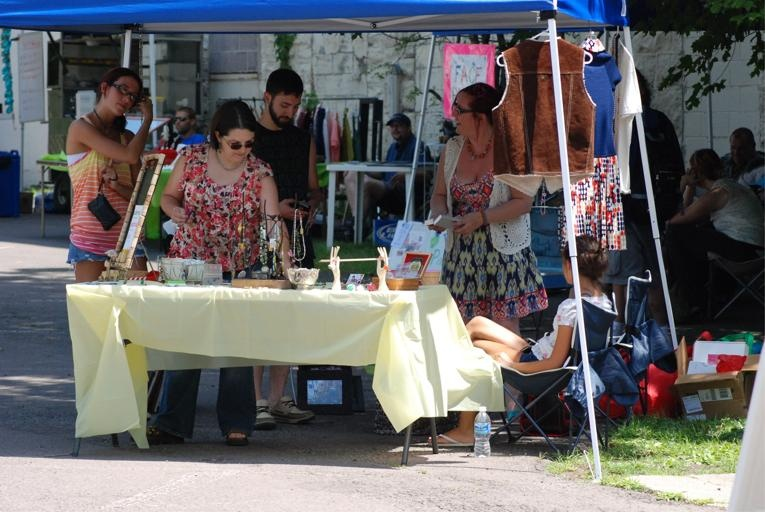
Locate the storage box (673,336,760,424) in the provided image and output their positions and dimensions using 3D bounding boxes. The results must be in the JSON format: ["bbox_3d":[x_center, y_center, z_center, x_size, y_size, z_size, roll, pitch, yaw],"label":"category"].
[{"bbox_3d":[2.719,0.948,8.976,0.579,0.458,0.588,1,9,20],"label":"storage box"}]

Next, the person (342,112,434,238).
[{"bbox_3d":[0.052,-1.236,17.275,1.246,2.190,1.036,4,2,-23],"label":"person"}]

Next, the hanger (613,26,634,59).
[{"bbox_3d":[2.053,-1.836,9.423,0.126,0.333,0.687,2,3,12],"label":"hanger"}]

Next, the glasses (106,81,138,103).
[{"bbox_3d":[-2.130,-1.365,9.087,0.118,0.147,0.297,4,4,40],"label":"glasses"}]

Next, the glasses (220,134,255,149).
[{"bbox_3d":[-1.155,-0.901,8.531,0.270,0.160,0.147,1,3,-2],"label":"glasses"}]

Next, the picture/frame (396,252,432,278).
[{"bbox_3d":[0.244,0.063,8.223,0.261,0.186,0.224,1,3,-11],"label":"picture/frame"}]

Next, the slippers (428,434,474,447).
[{"bbox_3d":[0.537,1.453,8.636,0.323,0.099,0.137,2,-3,1],"label":"slippers"}]

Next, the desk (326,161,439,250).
[{"bbox_3d":[-0.267,-0.797,16.270,1.229,1.326,1.307,1,3,14],"label":"desk"}]

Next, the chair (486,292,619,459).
[{"bbox_3d":[1.337,0.837,8.780,1.094,1.210,0.966,2,-4,13],"label":"chair"}]

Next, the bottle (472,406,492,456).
[{"bbox_3d":[0.760,1.313,8.400,0.138,0.394,0.328,1,3,6],"label":"bottle"}]

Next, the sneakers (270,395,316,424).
[{"bbox_3d":[-0.779,1.283,9.239,0.427,0.216,0.161,3,3,7],"label":"sneakers"}]

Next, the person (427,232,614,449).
[{"bbox_3d":[1.148,0.700,8.854,1.394,1.724,0.804,2,15,25],"label":"person"}]

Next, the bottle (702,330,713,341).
[{"bbox_3d":[2.999,0.724,10.119,0.141,0.097,0.232,0,-5,7],"label":"bottle"}]

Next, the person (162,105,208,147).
[{"bbox_3d":[-3.009,-1.917,16.704,0.959,0.692,0.466,3,0,29],"label":"person"}]
